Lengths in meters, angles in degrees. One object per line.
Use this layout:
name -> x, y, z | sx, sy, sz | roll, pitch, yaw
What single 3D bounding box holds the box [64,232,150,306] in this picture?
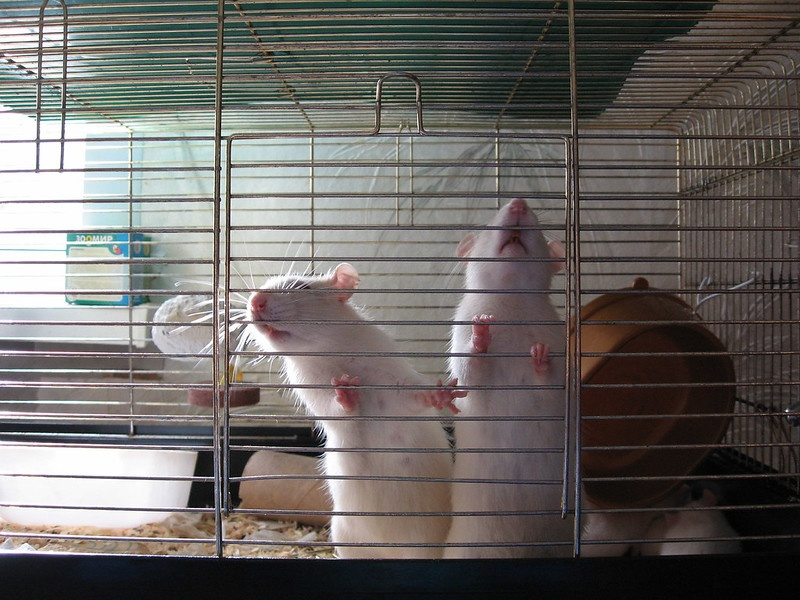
box -> -1.007, -0.112, 3.192 | 0.414, 0.253, 0.220 | 1, 6, 1
